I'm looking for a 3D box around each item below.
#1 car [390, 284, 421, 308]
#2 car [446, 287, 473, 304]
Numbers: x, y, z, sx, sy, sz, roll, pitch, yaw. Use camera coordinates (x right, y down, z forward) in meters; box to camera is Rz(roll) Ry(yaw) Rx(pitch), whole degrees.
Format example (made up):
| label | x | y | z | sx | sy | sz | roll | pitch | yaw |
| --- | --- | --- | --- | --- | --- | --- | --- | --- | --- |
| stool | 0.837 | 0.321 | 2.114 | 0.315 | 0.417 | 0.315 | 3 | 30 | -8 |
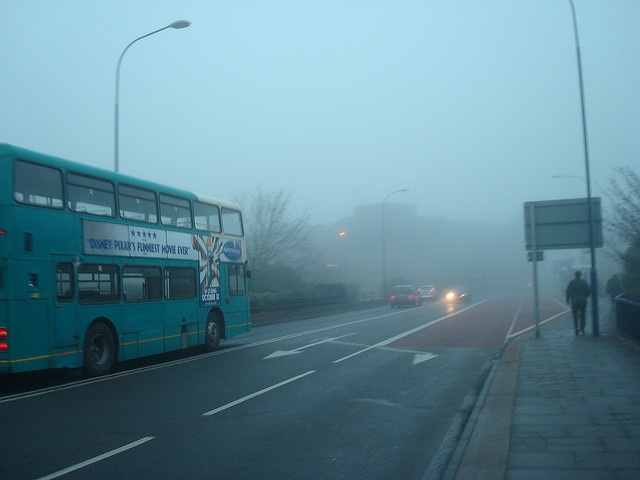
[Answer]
| label | x | y | z | sx | sy | sz | roll | pitch | yaw |
| --- | --- | --- | --- | --- | --- | --- | --- | --- | --- |
| car | 6.873 | 4.357 | 45.132 | 1.167 | 1.107 | 2.454 | -2 | 0 | 23 |
| car | 12.765 | 5.031 | 51.976 | 1.436 | 0.867 | 2.679 | 1 | 2 | 30 |
